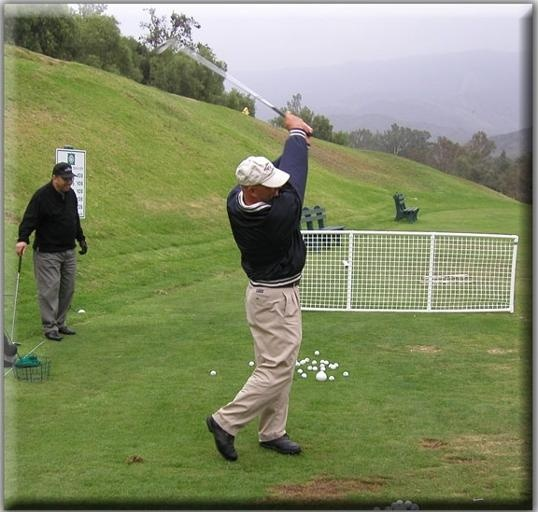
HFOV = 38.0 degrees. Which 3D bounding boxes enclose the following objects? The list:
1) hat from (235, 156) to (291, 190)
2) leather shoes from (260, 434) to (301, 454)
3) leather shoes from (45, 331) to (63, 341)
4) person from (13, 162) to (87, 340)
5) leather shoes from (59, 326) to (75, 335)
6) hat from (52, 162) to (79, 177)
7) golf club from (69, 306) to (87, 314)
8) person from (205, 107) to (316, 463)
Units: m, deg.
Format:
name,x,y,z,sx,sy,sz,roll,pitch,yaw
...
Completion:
name,x,y,z,sx,sy,sz,roll,pitch,yaw
hat,-0.062,-0.725,6.577,0.461,0.191,0.313,6,33,15
leather shoes,0.109,1.681,7.014,0.350,0.166,0.151,0,-3,17
leather shoes,-2.612,0.974,9.495,0.232,0.094,0.092,2,5,35
person,-2.611,-0.011,9.357,0.795,2.183,0.489,-7,14,-30
leather shoes,-2.544,0.943,9.884,0.239,0.108,0.081,7,5,-18
hat,-2.405,-1.009,9.204,0.246,0.145,0.177,3,9,10
golf club,-2.751,0.797,11.241,0.203,0.064,0.132,-4,22,39
person,-0.070,0.288,6.777,1.001,2.951,0.604,-4,13,-21
